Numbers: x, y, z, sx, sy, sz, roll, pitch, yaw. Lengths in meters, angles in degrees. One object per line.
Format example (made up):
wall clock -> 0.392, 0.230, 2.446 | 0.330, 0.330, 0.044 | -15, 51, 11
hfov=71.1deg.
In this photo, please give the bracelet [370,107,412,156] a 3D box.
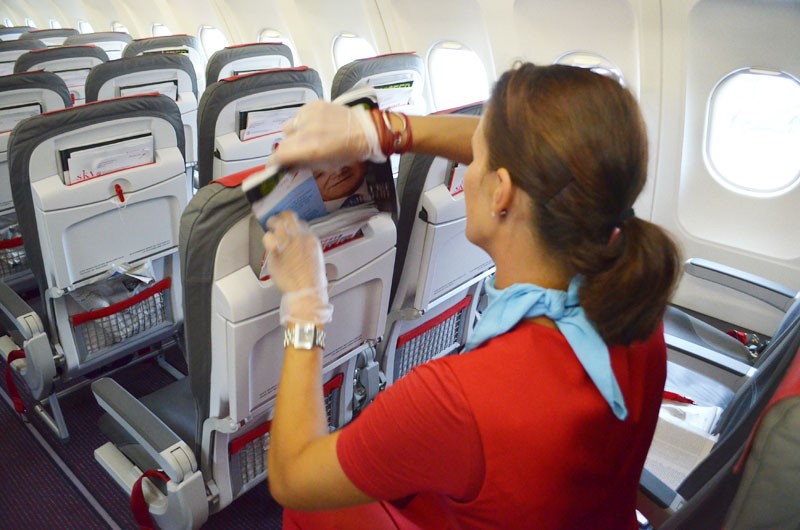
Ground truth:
bracelet -> -0.029, -0.518, 2.138 | 0.185, 0.205, 0.145 | -6, 22, -10
